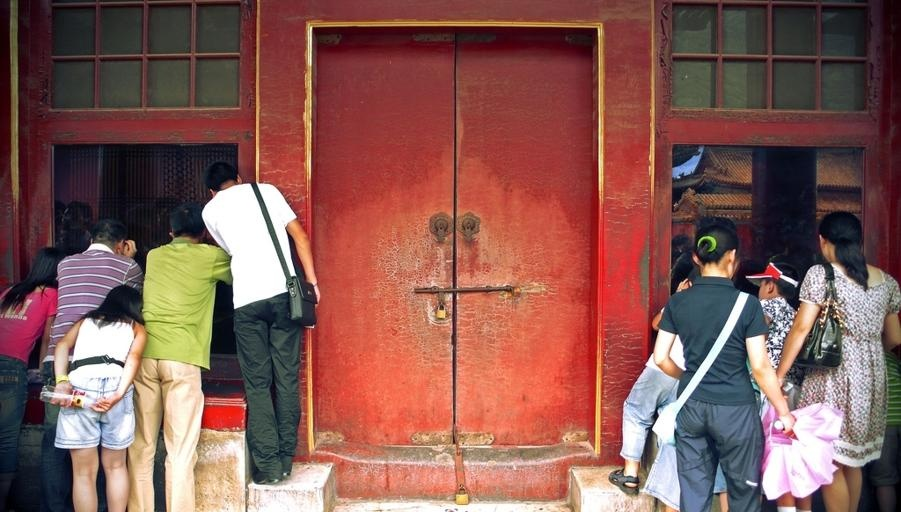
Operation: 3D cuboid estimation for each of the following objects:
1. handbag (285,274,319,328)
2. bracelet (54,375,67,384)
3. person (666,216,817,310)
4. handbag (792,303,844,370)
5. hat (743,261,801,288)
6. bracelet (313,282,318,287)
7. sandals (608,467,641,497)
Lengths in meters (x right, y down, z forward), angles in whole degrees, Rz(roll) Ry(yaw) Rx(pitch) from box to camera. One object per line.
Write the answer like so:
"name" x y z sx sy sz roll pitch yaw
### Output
"handbag" -1.354 0.396 10.641 0.194 0.391 0.421 -7 -15 10
"bracelet" -3.419 1.066 10.371 0.100 0.066 0.065 1 -2 -21
"person" 2.662 -0.146 11.156 1.648 0.897 0.777 1 6 0
"handbag" 3.263 0.685 10.402 0.304 0.758 0.579 10 7 26
"hat" 2.921 0.173 10.726 0.385 0.135 0.251 10 1 29
"bracelet" -1.240 0.258 10.823 0.041 0.024 0.034 13 -2 9
"sandals" 1.598 2.029 10.717 0.151 0.130 0.307 -2 20 -30
